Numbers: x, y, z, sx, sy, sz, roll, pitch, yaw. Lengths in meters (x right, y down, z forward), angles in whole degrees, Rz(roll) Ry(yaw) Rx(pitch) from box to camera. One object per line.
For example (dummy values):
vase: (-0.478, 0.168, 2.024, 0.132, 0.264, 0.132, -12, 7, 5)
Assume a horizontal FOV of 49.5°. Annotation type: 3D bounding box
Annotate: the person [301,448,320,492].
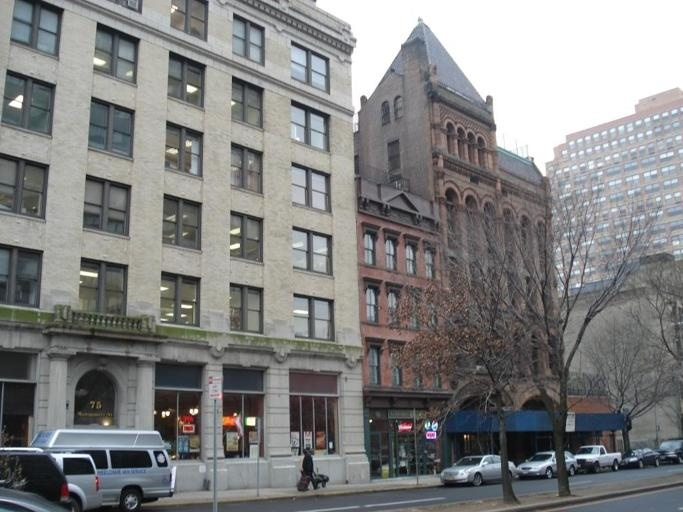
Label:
person: (-1.616, 10.924, 38.174, 0.803, 2.178, 1.596, -2, -20, -2)
